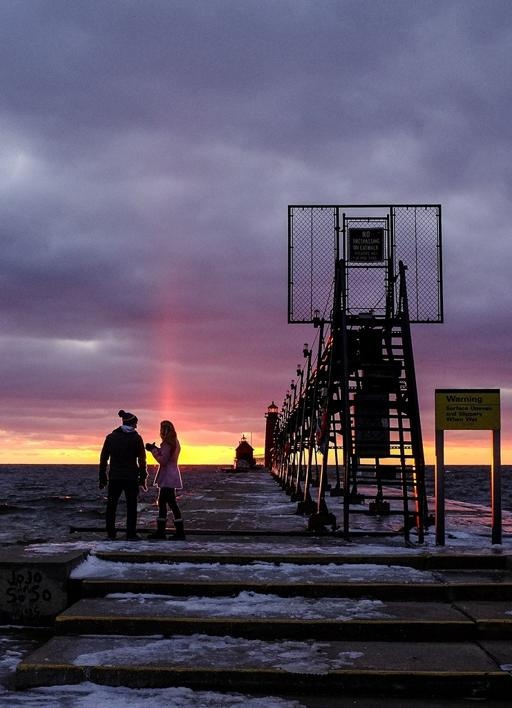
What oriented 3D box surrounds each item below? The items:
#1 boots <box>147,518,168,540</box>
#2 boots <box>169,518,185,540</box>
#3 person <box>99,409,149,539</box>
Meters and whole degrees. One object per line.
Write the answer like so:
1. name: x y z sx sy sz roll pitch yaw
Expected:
1. boots: -1.114 1.963 10.485 0.213 0.208 0.349 -1 3 -7
2. boots: -0.866 1.935 10.314 0.146 0.250 0.519 0 3 -5
3. person: -1.494 1.358 10.409 0.517 1.550 0.996 -1 3 -8
